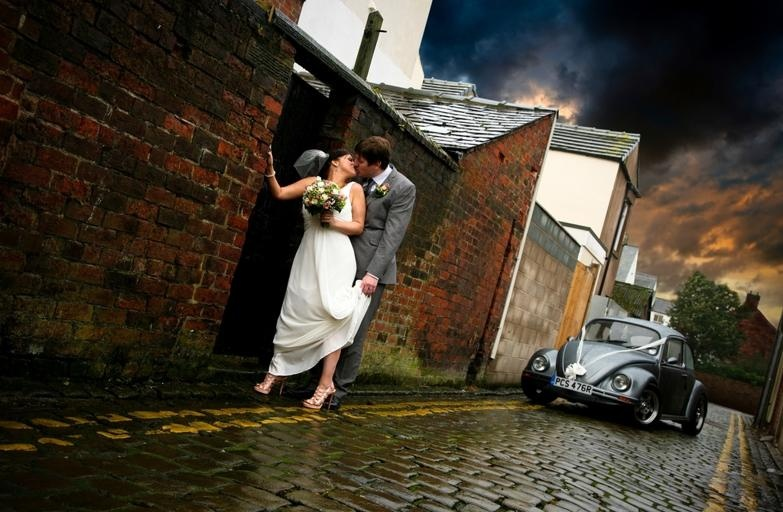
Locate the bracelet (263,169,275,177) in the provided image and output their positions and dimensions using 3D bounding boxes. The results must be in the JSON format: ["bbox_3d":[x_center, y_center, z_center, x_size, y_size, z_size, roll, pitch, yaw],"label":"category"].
[{"bbox_3d":[-1.298,-0.876,4.996,0.076,0.050,0.095,0,-9,-11],"label":"bracelet"}]

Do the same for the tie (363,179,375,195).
[{"bbox_3d":[-0.251,-0.771,5.326,0.115,0.179,0.045,6,-14,33],"label":"tie"}]

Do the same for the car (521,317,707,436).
[{"bbox_3d":[4.939,2.412,10.079,3.758,2.196,1.917,15,-2,-27],"label":"car"}]

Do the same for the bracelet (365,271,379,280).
[{"bbox_3d":[-0.203,0.211,5.145,0.090,0.033,0.084,35,-10,20],"label":"bracelet"}]

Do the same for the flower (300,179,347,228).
[{"bbox_3d":[-0.711,-0.557,4.965,0.490,0.487,0.480,8,16,5],"label":"flower"}]

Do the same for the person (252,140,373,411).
[{"bbox_3d":[-0.766,0.212,5.033,1.170,2.834,0.657,14,-2,-3],"label":"person"}]

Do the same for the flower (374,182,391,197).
[{"bbox_3d":[-0.083,-0.728,5.210,0.147,0.121,0.074,-7,-7,18],"label":"flower"}]
